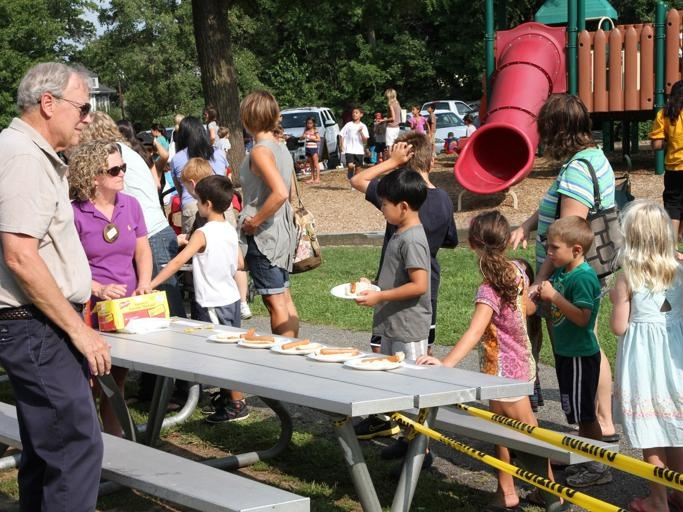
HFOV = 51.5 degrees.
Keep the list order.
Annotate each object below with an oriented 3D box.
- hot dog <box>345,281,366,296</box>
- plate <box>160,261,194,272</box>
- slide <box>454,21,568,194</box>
[{"bbox_3d":[0.089,0.192,4.263,0.070,0.037,0.098,-4,16,8],"label":"hot dog"},{"bbox_3d":[-1.324,0.086,5.678,0.171,0.033,0.112,-1,9,19],"label":"plate"},{"bbox_3d":[2.815,-2.817,12.976,1.502,2.370,4.690,12,41,26],"label":"slide"}]
